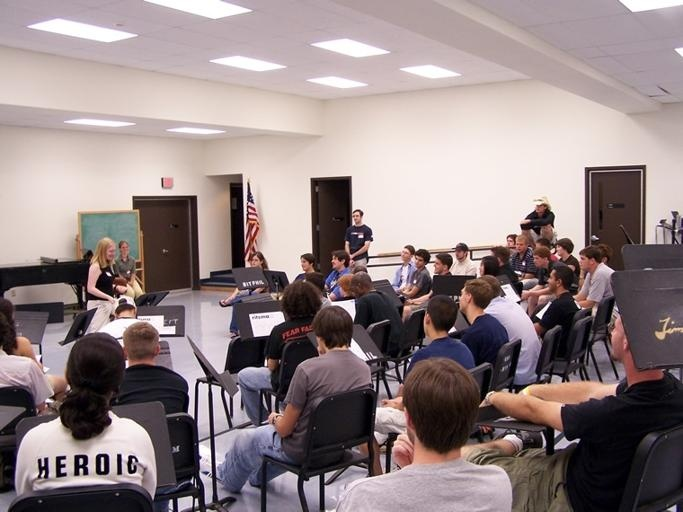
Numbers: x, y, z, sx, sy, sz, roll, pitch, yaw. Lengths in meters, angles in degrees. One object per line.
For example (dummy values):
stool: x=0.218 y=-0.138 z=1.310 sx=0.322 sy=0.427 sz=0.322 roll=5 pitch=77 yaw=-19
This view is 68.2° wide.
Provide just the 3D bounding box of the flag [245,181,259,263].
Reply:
flag: x=-2.339 y=-0.949 z=13.159 sx=0.375 sy=2.060 sz=0.556 roll=-1 pitch=3 yaw=-9

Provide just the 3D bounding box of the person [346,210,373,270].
person: x=0.369 y=-0.415 z=10.639 sx=0.512 sy=1.127 sz=0.750 roll=-2 pitch=3 yaw=-34

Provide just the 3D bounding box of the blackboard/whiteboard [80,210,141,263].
blackboard/whiteboard: x=-4.940 y=-0.428 z=10.621 sx=1.130 sy=1.092 sz=0.184 roll=-2 pitch=-2 yaw=-44

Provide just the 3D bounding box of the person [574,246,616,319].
person: x=3.183 y=0.360 z=6.506 sx=0.657 sy=0.921 sz=0.540 roll=-3 pitch=4 yaw=19

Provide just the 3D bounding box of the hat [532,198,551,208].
hat: x=3.882 y=-1.051 z=9.727 sx=0.234 sy=0.132 sz=0.349 roll=2 pitch=3 yaw=13

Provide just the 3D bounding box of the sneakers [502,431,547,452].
sneakers: x=0.958 y=0.960 z=2.625 sx=0.179 sy=0.105 sz=0.103 roll=6 pitch=-14 yaw=-24

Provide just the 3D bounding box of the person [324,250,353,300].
person: x=-0.069 y=0.368 z=7.980 sx=0.479 sy=0.879 sz=0.654 roll=4 pitch=7 yaw=-10

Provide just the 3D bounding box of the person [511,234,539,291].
person: x=3.007 y=0.127 z=8.639 sx=0.616 sy=0.912 sz=0.695 roll=1 pitch=17 yaw=32

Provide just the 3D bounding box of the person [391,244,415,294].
person: x=1.053 y=0.231 z=8.529 sx=0.456 sy=0.809 sz=0.549 roll=-2 pitch=-10 yaw=36

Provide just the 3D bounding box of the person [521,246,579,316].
person: x=3.011 y=0.433 z=7.486 sx=0.764 sy=1.166 sz=0.446 roll=0 pitch=12 yaw=1

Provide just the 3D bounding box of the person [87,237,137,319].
person: x=-3.704 y=0.608 z=8.057 sx=0.691 sy=1.691 sz=0.681 roll=3 pitch=9 yaw=-23

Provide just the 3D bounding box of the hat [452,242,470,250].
hat: x=1.997 y=-0.168 z=8.262 sx=0.180 sy=0.140 sz=0.262 roll=2 pitch=-11 yaw=38

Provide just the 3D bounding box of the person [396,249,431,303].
person: x=1.156 y=0.298 z=8.076 sx=0.577 sy=0.808 sz=0.542 roll=-7 pitch=10 yaw=-34
